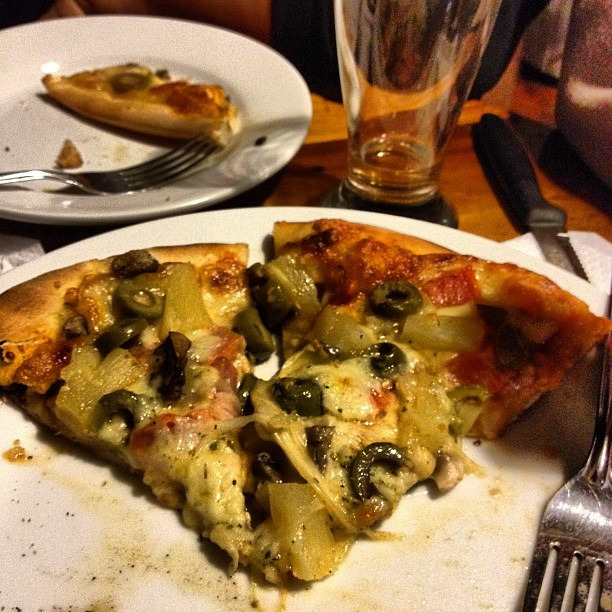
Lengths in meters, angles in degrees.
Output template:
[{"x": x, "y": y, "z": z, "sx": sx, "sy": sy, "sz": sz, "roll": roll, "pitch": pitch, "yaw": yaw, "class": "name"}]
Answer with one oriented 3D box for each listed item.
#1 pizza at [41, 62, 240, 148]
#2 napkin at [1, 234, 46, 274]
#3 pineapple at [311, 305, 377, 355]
[{"x": -0.807, "y": -1.044, "z": 3.359, "sx": 0.971, "sy": 0.181, "sz": 0.507, "roll": 12, "pitch": 40, "yaw": 6, "class": "pizza"}, {"x": -1.120, "y": -0.218, "z": 2.572, "sx": 0.171, "sy": 0.015, "sz": 0.227, "roll": -19, "pitch": 49, "yaw": -18, "class": "napkin"}, {"x": 0.183, "y": 0.064, "z": 2.153, "sx": 0.182, "sy": 0.115, "sz": 0.236, "roll": -11, "pitch": 25, "yaw": -31, "class": "pineapple"}]
